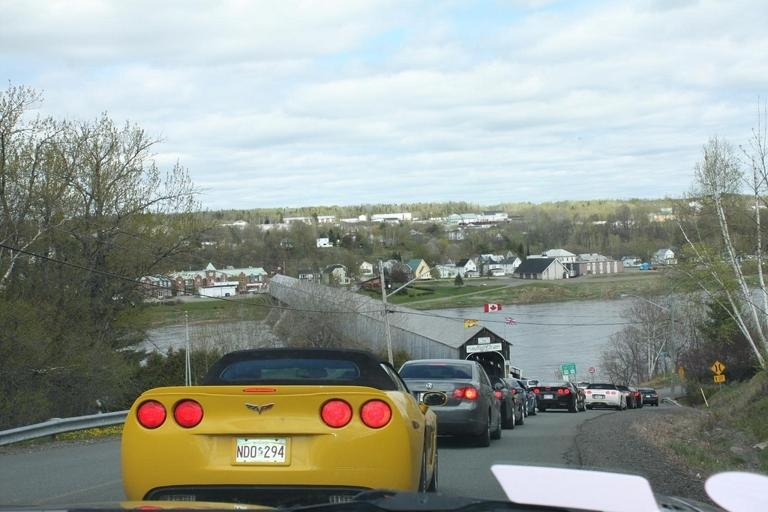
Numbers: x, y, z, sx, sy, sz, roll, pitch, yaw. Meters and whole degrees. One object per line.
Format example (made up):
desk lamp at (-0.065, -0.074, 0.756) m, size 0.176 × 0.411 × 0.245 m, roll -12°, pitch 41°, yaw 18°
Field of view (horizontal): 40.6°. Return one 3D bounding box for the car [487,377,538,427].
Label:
car at (5.513, 6.368, 44.612) m, size 1.395 × 1.036 × 3.080 m, roll -1°, pitch 3°, yaw 11°
